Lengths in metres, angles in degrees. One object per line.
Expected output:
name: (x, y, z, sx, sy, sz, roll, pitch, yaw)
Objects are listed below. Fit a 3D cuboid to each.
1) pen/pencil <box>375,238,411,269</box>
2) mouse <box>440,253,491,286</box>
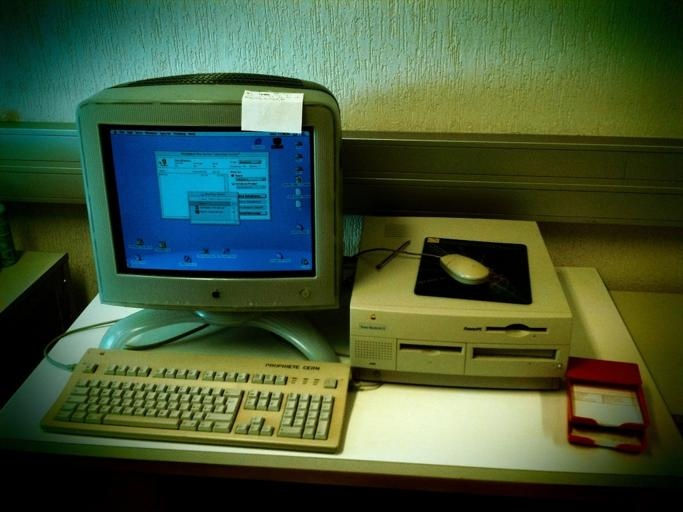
pen/pencil: (0.130, -0.002, 1.445, 0.015, 0.014, 0.106, 19, 44, 37)
mouse: (0.294, 0.021, 1.355, 0.065, 0.024, 0.091, 2, 25, -2)
